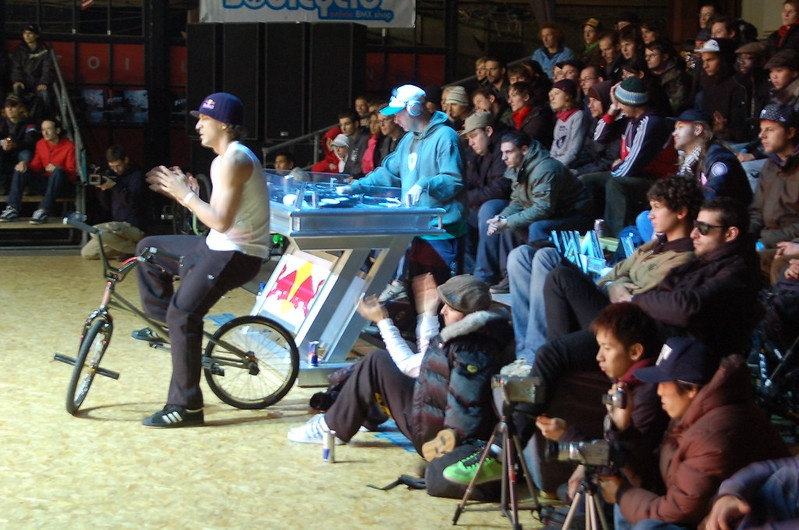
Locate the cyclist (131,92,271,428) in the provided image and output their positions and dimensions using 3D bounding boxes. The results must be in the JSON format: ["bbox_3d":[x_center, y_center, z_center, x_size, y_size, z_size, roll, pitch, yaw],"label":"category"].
[{"bbox_3d":[-1.407,-0.060,5.667,0.867,2.307,0.650,-3,12,-26],"label":"cyclist"}]

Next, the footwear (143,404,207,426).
[{"bbox_3d":[-1.544,1.068,5.504,0.413,0.166,0.156,4,1,-12],"label":"footwear"}]

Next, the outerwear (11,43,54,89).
[{"bbox_3d":[-5.972,-3.226,12.927,0.616,0.763,0.320,2,6,-1],"label":"outerwear"}]

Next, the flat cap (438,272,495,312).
[{"bbox_3d":[0.404,0.184,4.925,0.325,0.224,0.204,3,10,1],"label":"flat cap"}]

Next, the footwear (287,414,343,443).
[{"bbox_3d":[-0.508,1.124,5.378,0.461,0.188,0.167,3,6,11],"label":"footwear"}]

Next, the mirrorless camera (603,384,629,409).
[{"bbox_3d":[1.130,0.694,4.171,0.139,0.136,0.087,12,-14,29],"label":"mirrorless camera"}]

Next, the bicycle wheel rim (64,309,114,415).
[{"bbox_3d":[-2.231,0.687,5.755,0.356,0.740,0.527,-2,11,-21],"label":"bicycle wheel rim"}]

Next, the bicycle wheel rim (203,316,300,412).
[{"bbox_3d":[-1.104,0.769,5.928,0.734,0.694,0.206,-3,6,-5],"label":"bicycle wheel rim"}]
